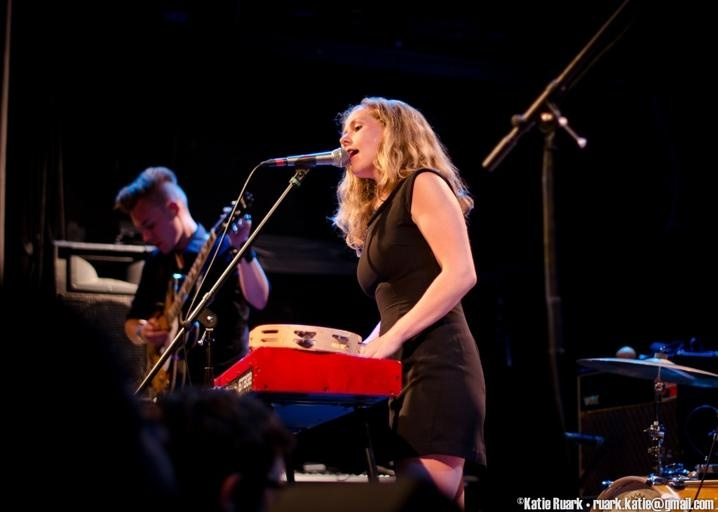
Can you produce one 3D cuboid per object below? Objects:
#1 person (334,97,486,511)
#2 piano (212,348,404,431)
[{"bbox_3d":[0.260,0.145,3.830,0.633,1.819,1.143,9,-2,-24],"label":"person"},{"bbox_3d":[-0.197,0.613,3.470,0.801,0.361,0.536,10,-3,-23],"label":"piano"}]
